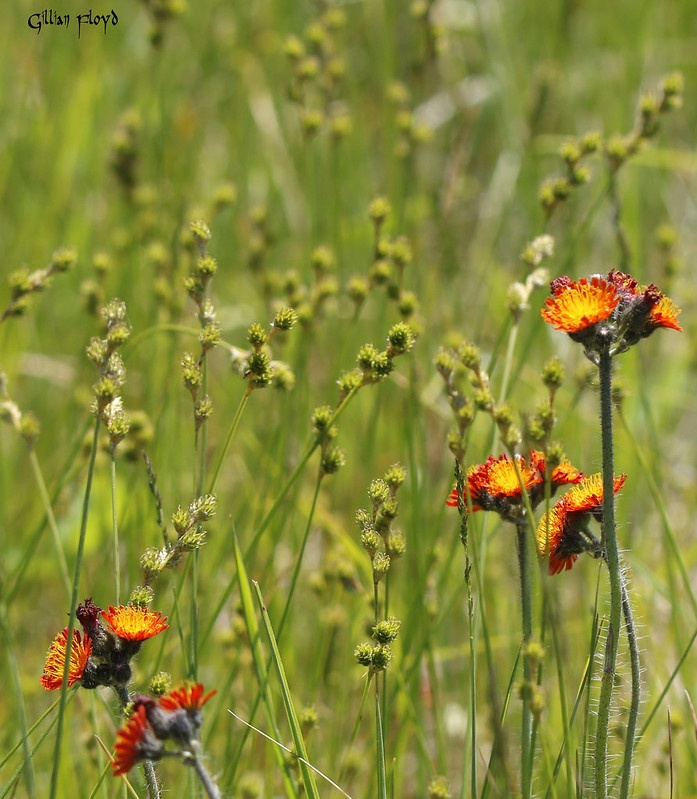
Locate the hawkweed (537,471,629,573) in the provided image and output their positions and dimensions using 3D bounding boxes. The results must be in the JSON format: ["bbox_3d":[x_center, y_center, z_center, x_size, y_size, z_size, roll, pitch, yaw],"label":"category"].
[{"bbox_3d":[0.426,0.262,2.690,0.145,0.186,0.177,-26,-7,27],"label":"hawkweed"}]

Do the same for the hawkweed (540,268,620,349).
[{"bbox_3d":[0.427,-0.155,2.604,0.136,0.134,0.143,-17,-14,31],"label":"hawkweed"}]

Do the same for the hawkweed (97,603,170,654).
[{"bbox_3d":[-0.396,0.396,2.576,0.077,0.071,0.091,20,4,9],"label":"hawkweed"}]

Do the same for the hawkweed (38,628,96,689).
[{"bbox_3d":[-0.524,0.461,2.612,0.045,0.102,0.101,27,10,-15],"label":"hawkweed"}]
